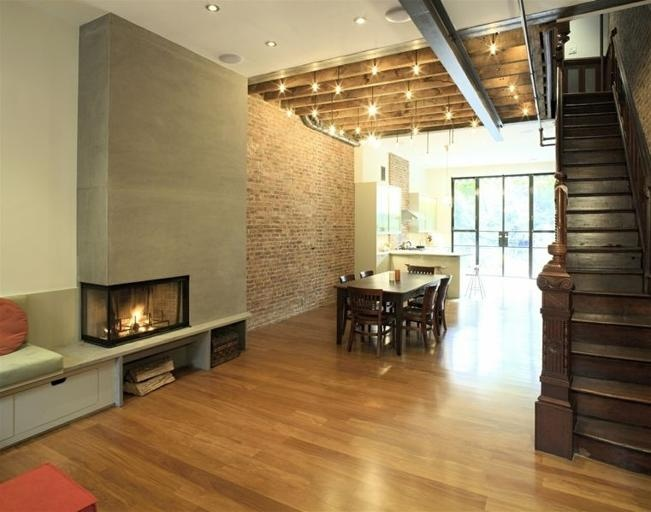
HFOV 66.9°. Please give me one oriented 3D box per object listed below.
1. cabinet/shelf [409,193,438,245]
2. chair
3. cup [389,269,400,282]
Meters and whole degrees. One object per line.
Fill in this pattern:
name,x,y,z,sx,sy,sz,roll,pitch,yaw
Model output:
cabinet/shelf,2.585,-0.955,13.126,0.609,1.500,2.377,4,12,18
chair,0.921,0.733,6.991,1.162,0.934,1.662,7,13,32
cup,1.004,0.298,7.398,0.226,0.215,0.124,0,2,18
